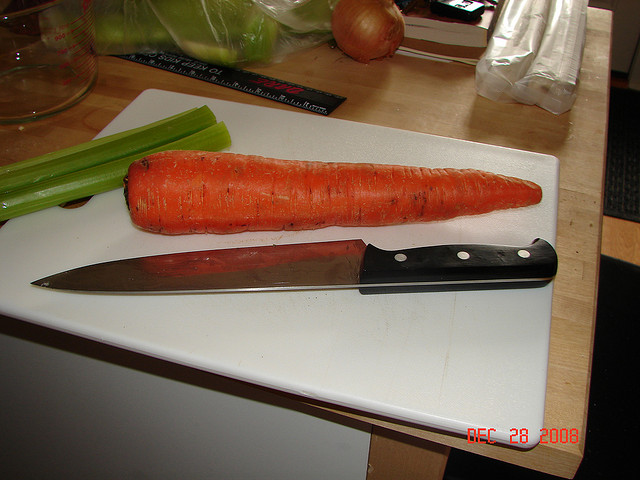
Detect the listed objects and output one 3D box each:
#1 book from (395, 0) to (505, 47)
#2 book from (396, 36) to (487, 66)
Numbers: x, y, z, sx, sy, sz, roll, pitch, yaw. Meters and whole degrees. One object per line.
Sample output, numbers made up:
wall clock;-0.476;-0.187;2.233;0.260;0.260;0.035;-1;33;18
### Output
book;0.410;-0.690;1.629;0.288;0.060;0.268;13;34;15
book;0.380;-0.589;1.554;0.259;0.025;0.079;14;58;12
